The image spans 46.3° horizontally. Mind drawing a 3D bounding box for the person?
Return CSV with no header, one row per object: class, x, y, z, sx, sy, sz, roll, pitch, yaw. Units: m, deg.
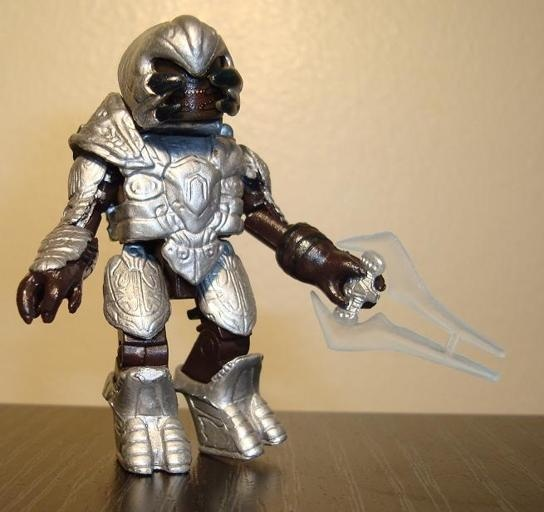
person,-0.173,-0.023,1.408,0.712,0.972,0.263,1,2,-16
